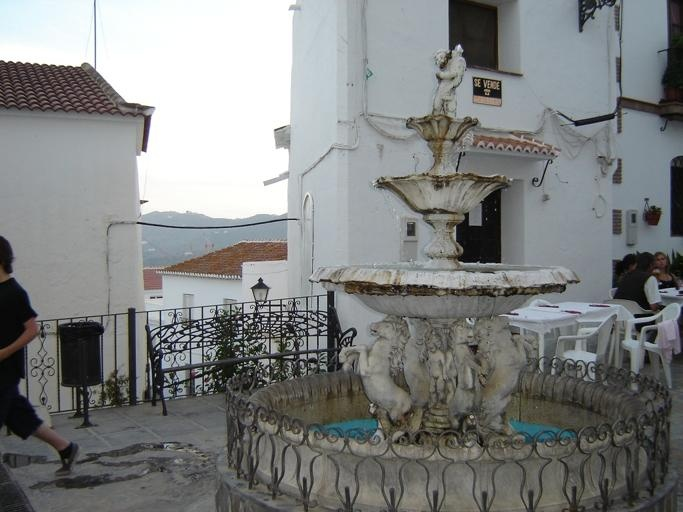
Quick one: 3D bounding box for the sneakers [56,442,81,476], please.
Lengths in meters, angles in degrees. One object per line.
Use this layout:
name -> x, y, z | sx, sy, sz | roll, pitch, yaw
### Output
sneakers -> -2.908, 2.153, 8.270 | 0.166, 0.434, 0.149 | 9, 6, -23

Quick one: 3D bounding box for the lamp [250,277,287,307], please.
lamp -> -1.353, 0.664, 14.153 | 0.577, 0.862, 0.603 | 2, -3, -7

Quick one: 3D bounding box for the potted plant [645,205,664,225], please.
potted plant -> 6.724, -0.874, 16.830 | 0.371, 0.424, 0.372 | -1, -5, 17
